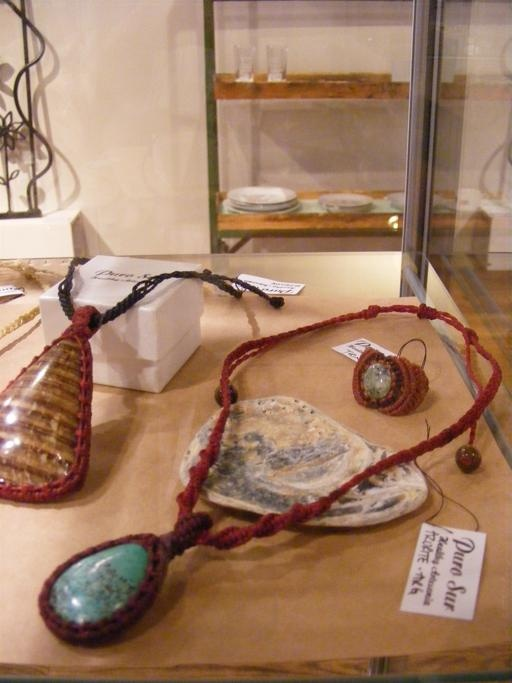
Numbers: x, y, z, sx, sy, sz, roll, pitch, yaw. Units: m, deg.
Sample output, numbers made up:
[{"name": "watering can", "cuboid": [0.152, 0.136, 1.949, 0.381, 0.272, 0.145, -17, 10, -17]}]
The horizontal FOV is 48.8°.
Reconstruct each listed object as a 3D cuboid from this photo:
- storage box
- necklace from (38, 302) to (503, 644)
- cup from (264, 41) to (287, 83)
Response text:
[{"name": "storage box", "cuboid": [-0.166, -0.006, 0.812, 0.207, 0.144, 0.190, 6, 26, 17]}, {"name": "necklace", "cuboid": [0.034, 0.120, 0.502, 0.209, 0.033, 0.405, 20, 36, 40]}, {"name": "cup", "cuboid": [0.050, -0.695, 1.409, 0.051, 0.088, 0.037, -2, 23, 3]}]
